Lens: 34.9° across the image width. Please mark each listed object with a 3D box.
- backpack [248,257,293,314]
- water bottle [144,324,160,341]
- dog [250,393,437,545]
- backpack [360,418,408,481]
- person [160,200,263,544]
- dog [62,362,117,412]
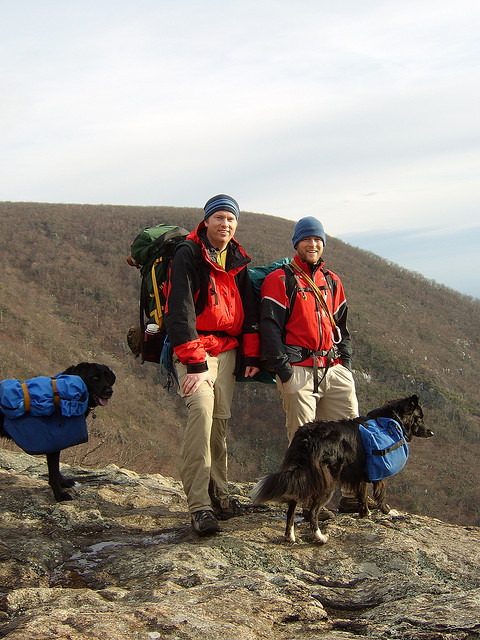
[{"bbox_3d":[0.186,-0.365,7.116,0.527,0.163,0.380,-17,36,-5],"label":"backpack"},{"bbox_3d":[-0.738,0.091,6.502,0.100,0.115,0.128,7,1,-6],"label":"water bottle"},{"bbox_3d":[0.847,1.234,6.380,2.029,1.032,0.485,-2,2,-40],"label":"dog"},{"bbox_3d":[1.194,1.061,6.374,0.517,0.476,0.290,-11,7,-41],"label":"backpack"},{"bbox_3d":[-0.230,0.346,6.309,0.554,2.716,0.976,3,2,28],"label":"person"},{"bbox_3d":[-1.385,0.569,7.099,0.297,0.279,0.593,-7,23,-45],"label":"dog"}]
